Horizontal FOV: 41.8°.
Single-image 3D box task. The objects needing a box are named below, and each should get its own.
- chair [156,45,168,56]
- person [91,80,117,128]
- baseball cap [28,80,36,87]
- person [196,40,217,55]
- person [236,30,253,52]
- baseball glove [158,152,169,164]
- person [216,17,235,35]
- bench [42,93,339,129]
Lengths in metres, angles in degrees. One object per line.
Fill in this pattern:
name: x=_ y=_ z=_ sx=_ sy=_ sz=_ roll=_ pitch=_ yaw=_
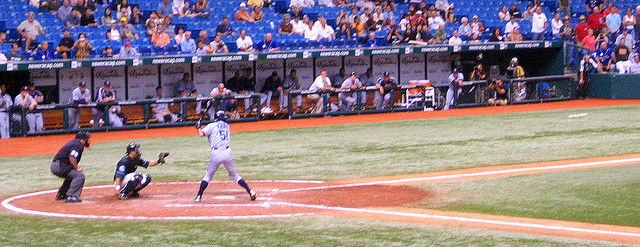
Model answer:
chair: x=-9.438 y=-4.460 z=50.357 sx=0.663 sy=0.535 sz=0.285 roll=-2 pitch=5 yaw=-8
person: x=-12.546 y=-1.145 z=48.992 sx=1.472 sy=2.714 sz=0.432 roll=-2 pitch=6 yaw=-12
baseball cap: x=-16.712 y=-2.372 z=48.863 sx=0.397 sy=0.206 sz=0.507 roll=-5 pitch=2 yaw=-26
person: x=-6.854 y=-4.676 z=50.744 sx=1.177 sy=0.769 sz=1.012 roll=-1 pitch=4 yaw=-3
person: x=-4.552 y=-5.112 z=51.046 sx=0.983 sy=1.271 sz=0.541 roll=-2 pitch=5 yaw=-6
baseball glove: x=-7.761 y=1.654 z=41.406 sx=0.322 sy=0.459 sz=0.542 roll=6 pitch=14 yaw=18
person: x=-5.765 y=-6.048 z=51.600 sx=1.136 sy=1.043 sz=0.547 roll=-2 pitch=5 yaw=-13
bench: x=-8.269 y=-0.751 z=49.359 sx=18.625 sy=1.663 sz=1.948 roll=-3 pitch=3 yaw=-15
